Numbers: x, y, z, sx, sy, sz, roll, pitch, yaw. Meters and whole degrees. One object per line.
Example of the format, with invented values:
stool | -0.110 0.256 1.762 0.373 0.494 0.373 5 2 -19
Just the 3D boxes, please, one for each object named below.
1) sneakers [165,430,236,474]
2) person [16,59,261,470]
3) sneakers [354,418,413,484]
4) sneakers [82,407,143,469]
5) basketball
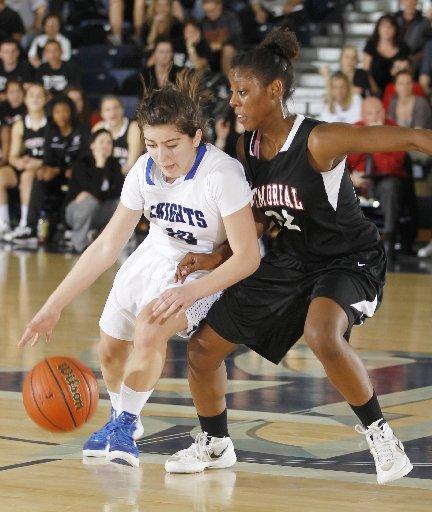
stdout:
sneakers | -0.033 0.505 1.435 0.211 0.075 0.072 2 -2 -29
person | -0.182 0.056 1.479 0.551 1.092 0.454 10 15 37
sneakers | 0.375 0.450 1.307 0.074 0.085 0.195 -35 2 9
sneakers | -0.270 0.470 1.443 0.129 0.077 0.183 -4 -1 1
basketball | -0.416 0.375 1.489 0.187 0.185 0.159 -7 13 -33
